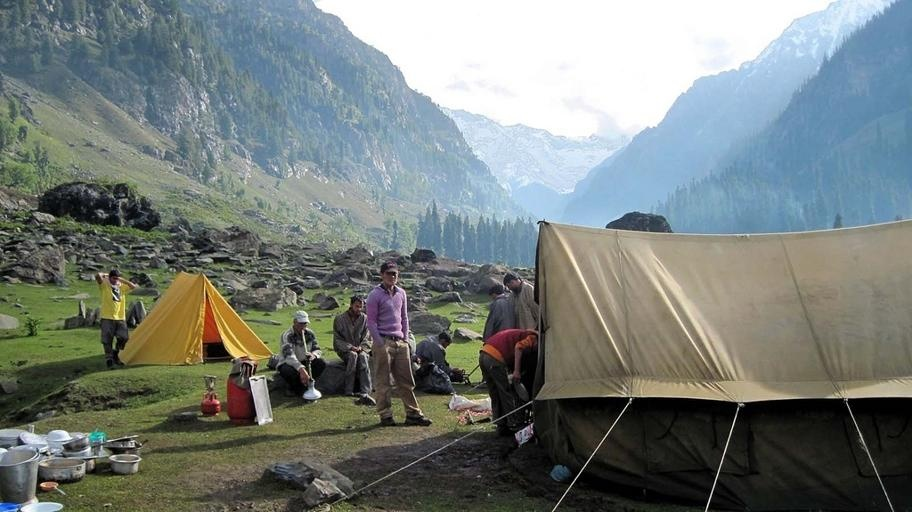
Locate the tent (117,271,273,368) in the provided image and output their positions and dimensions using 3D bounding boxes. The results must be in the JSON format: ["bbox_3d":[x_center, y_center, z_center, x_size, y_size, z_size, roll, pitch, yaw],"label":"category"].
[{"bbox_3d":[-13.676,3.842,34.040,6.622,3.120,5.163,-1,1,-37],"label":"tent"}]

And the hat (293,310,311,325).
[{"bbox_3d":[-6.918,2.712,30.176,0.850,0.501,1.052,1,-1,-37],"label":"hat"}]

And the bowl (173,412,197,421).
[{"bbox_3d":[-11.296,6.711,28.343,0.614,0.172,0.413,0,-4,4],"label":"bowl"}]

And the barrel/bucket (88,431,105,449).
[{"bbox_3d":[-13.939,7.120,26.274,0.590,0.496,0.570,-1,-5,0],"label":"barrel/bucket"}]

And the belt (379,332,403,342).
[{"bbox_3d":[-2.718,3.388,28.388,0.921,0.261,0.103,2,-7,-14],"label":"belt"}]

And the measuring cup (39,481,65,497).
[{"bbox_3d":[-15.016,8.641,25.264,1.025,0.478,0.307,-1,-7,11],"label":"measuring cup"}]
